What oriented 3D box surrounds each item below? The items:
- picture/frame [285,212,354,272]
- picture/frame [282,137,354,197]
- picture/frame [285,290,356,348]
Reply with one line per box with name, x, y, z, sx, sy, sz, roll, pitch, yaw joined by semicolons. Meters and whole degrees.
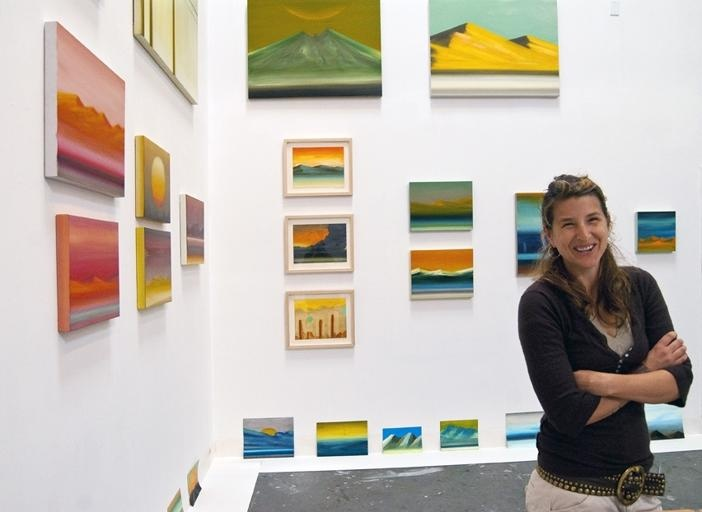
picture/frame;-0.230;-0.083;4.351;0.348;0.309;0.035;0;-3;-1
picture/frame;-0.241;-0.597;4.351;0.354;0.314;0.035;0;-1;-4
picture/frame;-0.230;0.430;4.353;0.345;0.321;0.026;-1;2;-1
